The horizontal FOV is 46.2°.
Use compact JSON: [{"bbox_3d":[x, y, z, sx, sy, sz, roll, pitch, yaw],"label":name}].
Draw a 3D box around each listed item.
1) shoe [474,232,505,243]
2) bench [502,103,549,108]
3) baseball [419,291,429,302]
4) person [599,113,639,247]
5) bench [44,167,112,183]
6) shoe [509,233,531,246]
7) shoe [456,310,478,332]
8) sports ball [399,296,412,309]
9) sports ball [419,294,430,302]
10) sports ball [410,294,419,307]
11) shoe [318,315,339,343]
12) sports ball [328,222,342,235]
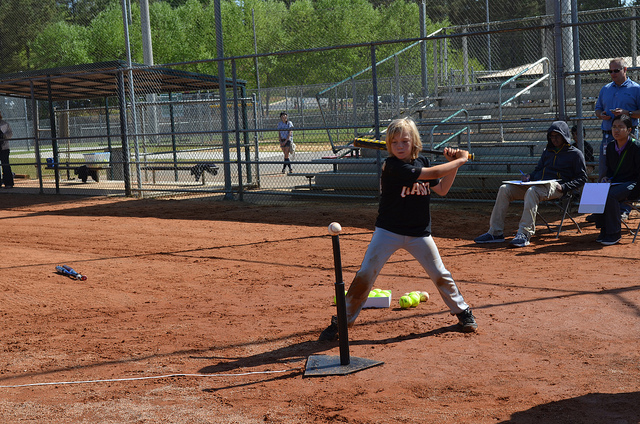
[{"bbox_3d":[3.108,0.482,13.794,0.552,0.194,0.187,2,-2,-6],"label":"shoe"},{"bbox_3d":[5.300,-2.713,18.981,0.840,0.092,1.791,-5,9,-18],"label":"bench"},{"bbox_3d":[1.587,1.290,11.374,0.135,0.124,0.136,7,9,36],"label":"baseball"},{"bbox_3d":[5.354,-0.610,13.384,0.620,2.258,1.073,2,10,22],"label":"person"},{"bbox_3d":[-7.624,-1.238,24.087,0.983,0.641,2.343,-4,9,-13],"label":"bench"},{"bbox_3d":[3.623,0.483,13.425,0.462,0.214,0.172,-5,10,-21],"label":"shoe"},{"bbox_3d":[2.056,1.530,10.463,0.172,0.184,0.434,3,8,16],"label":"shoe"},{"bbox_3d":[1.294,1.355,11.219,0.168,0.155,0.162,7,-24,3],"label":"sports ball"},{"bbox_3d":[1.591,1.305,11.415,0.121,0.106,0.111,9,10,-2],"label":"sports ball"},{"bbox_3d":[1.423,1.326,11.204,0.160,0.164,0.152,-4,-7,-1],"label":"sports ball"},{"bbox_3d":[0.125,1.697,10.440,0.168,0.206,0.528,-3,-4,20],"label":"shoe"},{"bbox_3d":[0.194,0.210,9.684,0.161,0.143,0.151,6,-15,2],"label":"sports ball"}]
